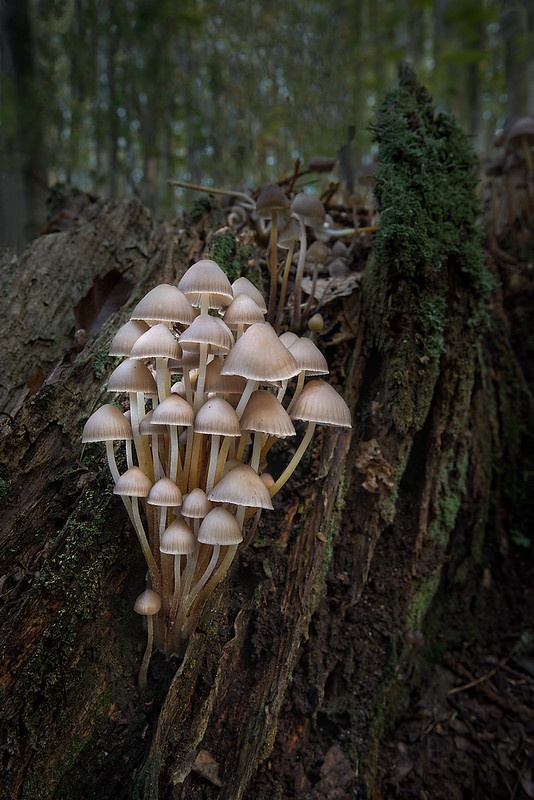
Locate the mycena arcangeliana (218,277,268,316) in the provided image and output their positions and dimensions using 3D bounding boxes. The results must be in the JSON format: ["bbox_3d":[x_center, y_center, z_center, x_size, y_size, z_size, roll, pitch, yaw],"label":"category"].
[{"bbox_3d":[-0.091,-0.576,3.733,0.210,0.123,0.204,-9,35,-27],"label":"mycena arcangeliana"}]

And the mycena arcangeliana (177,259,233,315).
[{"bbox_3d":[-0.320,-0.588,3.552,0.288,0.310,0.270,3,8,-12],"label":"mycena arcangeliana"}]

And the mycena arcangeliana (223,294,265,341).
[{"bbox_3d":[-0.120,-0.420,3.526,0.191,0.224,0.203,-21,31,-19],"label":"mycena arcangeliana"}]

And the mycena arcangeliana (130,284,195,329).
[{"bbox_3d":[-0.516,-0.470,3.377,0.237,0.133,0.233,-16,22,-26],"label":"mycena arcangeliana"}]

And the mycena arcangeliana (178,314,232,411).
[{"bbox_3d":[-0.323,-0.187,3.493,0.276,0.501,0.258,9,6,29],"label":"mycena arcangeliana"}]

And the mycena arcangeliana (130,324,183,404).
[{"bbox_3d":[-0.525,-0.169,3.472,0.265,0.417,0.267,3,-4,9],"label":"mycena arcangeliana"}]

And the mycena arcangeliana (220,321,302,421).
[{"bbox_3d":[-0.020,-0.150,3.460,0.458,0.513,0.386,-10,17,-23],"label":"mycena arcangeliana"}]
